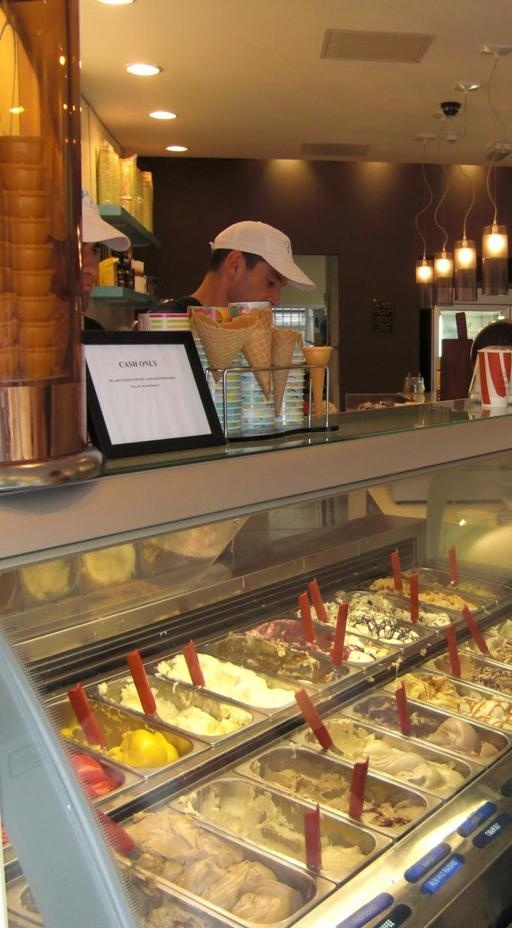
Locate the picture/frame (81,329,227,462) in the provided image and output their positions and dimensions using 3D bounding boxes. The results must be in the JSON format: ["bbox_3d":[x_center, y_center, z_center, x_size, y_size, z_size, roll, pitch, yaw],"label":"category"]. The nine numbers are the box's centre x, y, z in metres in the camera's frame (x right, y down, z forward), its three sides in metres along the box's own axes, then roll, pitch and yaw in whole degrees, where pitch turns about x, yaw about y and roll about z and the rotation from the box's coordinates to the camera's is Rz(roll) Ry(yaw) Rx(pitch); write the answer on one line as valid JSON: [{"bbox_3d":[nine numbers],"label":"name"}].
[{"bbox_3d":[-0.100,-0.063,0.598,0.136,0.125,0.014,-5,-14,-45],"label":"picture/frame"}]

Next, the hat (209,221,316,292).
[{"bbox_3d":[-0.002,-0.494,1.450,0.239,0.129,0.156,22,15,8],"label":"hat"}]

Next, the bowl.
[{"bbox_3d":[-0.059,-0.113,0.851,0.126,0.187,0.228,-2,-2,40],"label":"bowl"}]
